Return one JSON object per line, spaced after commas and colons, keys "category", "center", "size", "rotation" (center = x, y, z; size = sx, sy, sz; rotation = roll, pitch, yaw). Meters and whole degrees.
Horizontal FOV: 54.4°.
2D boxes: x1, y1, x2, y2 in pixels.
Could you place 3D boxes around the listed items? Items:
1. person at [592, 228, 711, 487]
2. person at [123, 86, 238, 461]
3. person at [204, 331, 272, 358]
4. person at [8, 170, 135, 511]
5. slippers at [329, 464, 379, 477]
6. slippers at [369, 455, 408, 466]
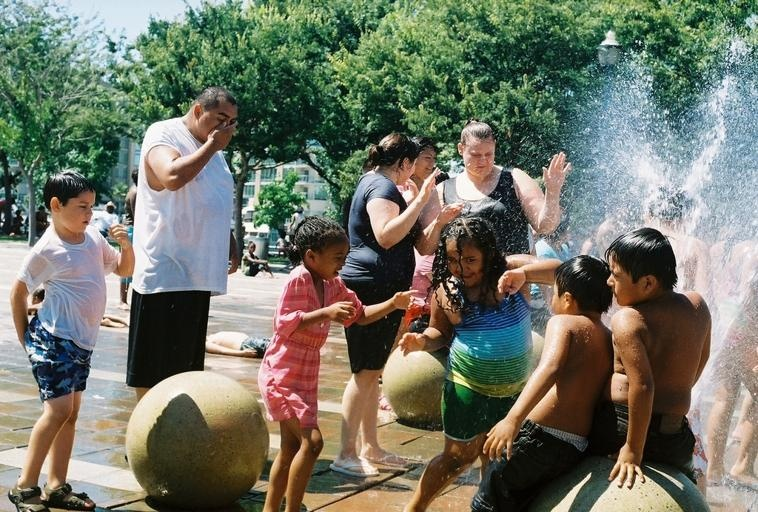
{"category": "person", "center": [1.628, 0.597, 4.402], "size": [0.664, 1.528, 0.387], "rotation": [1, -1, -24]}
{"category": "person", "center": [-1.445, -0.103, 5.433], "size": [0.736, 1.967, 0.550], "rotation": [1, -1, -18]}
{"category": "person", "center": [-1.967, 1.198, 9.901], "size": [1.067, 0.313, 0.495], "rotation": [-3, -8, 30]}
{"category": "person", "center": [-2.190, 0.561, 5.258], "size": [0.783, 2.240, 0.614], "rotation": [1, -1, -27]}
{"category": "slippers", "center": [-0.181, 1.656, 5.760], "size": [0.247, 0.074, 0.139], "rotation": [1, 0, 28]}
{"category": "slippers", "center": [0.087, 1.629, 5.949], "size": [0.285, 0.078, 0.109], "rotation": [2, 2, -1]}
